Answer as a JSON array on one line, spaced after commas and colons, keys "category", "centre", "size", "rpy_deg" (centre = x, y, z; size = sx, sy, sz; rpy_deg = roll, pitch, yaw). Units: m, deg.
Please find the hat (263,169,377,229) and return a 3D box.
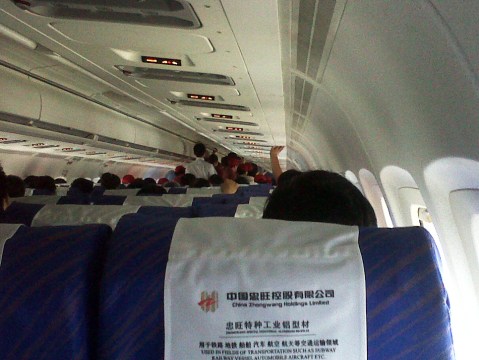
[{"category": "hat", "centre": [0.302, 0.081, 1.284], "size": [0.346, 0.080, 0.270], "rpy_deg": [8, -5, 4]}]
